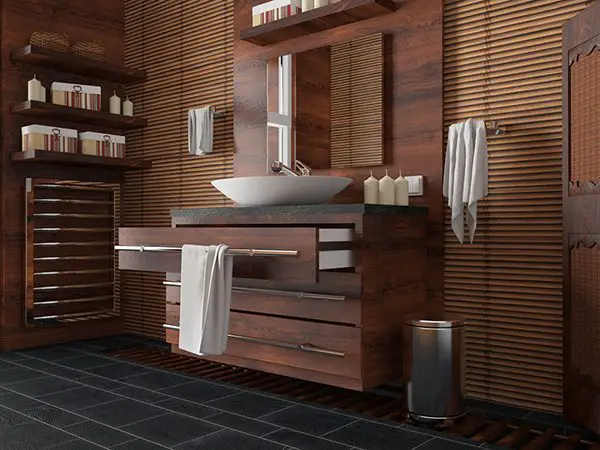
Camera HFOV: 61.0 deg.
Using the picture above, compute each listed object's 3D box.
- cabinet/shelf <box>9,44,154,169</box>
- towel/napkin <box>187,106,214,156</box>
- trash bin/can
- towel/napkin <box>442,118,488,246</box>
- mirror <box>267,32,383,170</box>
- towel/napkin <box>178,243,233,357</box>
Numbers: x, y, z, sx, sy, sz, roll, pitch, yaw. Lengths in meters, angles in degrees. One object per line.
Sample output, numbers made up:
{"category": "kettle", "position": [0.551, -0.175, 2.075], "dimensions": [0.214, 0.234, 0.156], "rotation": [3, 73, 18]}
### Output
{"category": "cabinet/shelf", "position": [-1.810, -0.937, 4.201], "dimensions": [0.494, 0.687, 1.194], "rotation": [5, 4, 29]}
{"category": "towel/napkin", "position": [-0.740, -0.710, 3.850], "dimensions": [0.108, 0.338, 0.359], "rotation": [-8, 14, -35]}
{"category": "trash bin/can", "position": [0.641, 0.698, 2.456], "dimensions": [0.300, 0.492, 0.108], "rotation": [1, -1, 10]}
{"category": "towel/napkin", "position": [0.864, -0.231, 2.678], "dimensions": [0.138, 0.639, 0.219], "rotation": [2, -1, -33]}
{"category": "mirror", "position": [0.231, -0.743, 3.164], "dimensions": [0.619, 0.775, 0.088], "rotation": [1, -1, 37]}
{"category": "towel/napkin", "position": [-0.491, 0.376, 2.597], "dimensions": [0.113, 0.555, 0.318], "rotation": [2, -1, -44]}
